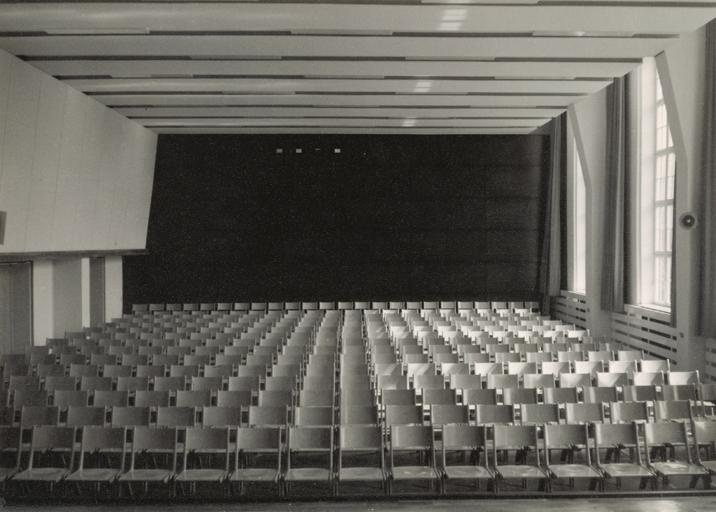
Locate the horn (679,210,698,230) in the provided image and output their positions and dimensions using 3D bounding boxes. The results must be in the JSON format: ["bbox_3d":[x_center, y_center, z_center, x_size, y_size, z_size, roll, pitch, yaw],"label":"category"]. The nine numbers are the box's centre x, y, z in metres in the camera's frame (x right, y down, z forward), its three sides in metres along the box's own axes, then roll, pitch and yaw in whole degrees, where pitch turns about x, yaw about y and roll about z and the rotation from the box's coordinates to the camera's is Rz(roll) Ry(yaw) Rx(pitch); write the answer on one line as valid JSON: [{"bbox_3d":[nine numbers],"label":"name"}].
[{"bbox_3d":[7.160,-0.762,17.263,0.311,0.180,0.346,2,-72,-9],"label":"horn"}]
